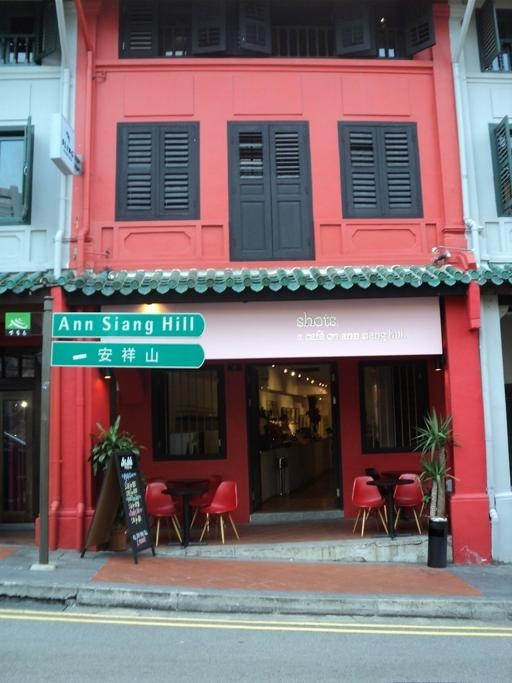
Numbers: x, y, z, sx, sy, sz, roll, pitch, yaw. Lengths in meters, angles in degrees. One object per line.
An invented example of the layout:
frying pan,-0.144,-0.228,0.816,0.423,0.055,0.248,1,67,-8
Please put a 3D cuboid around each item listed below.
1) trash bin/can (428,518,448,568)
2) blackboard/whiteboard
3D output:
trash bin/can,2.240,2.511,7.931,0.249,0.621,0.187,-4,-5,19
blackboard/whiteboard,-1.507,2.038,7.923,0.364,1.358,0.743,-3,-5,5
